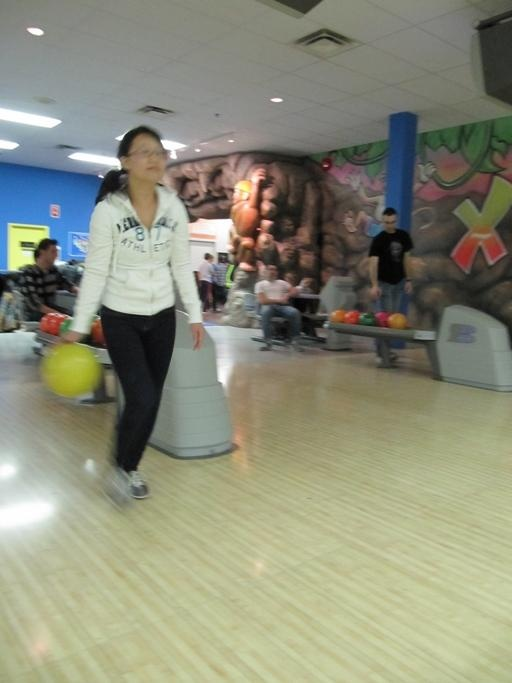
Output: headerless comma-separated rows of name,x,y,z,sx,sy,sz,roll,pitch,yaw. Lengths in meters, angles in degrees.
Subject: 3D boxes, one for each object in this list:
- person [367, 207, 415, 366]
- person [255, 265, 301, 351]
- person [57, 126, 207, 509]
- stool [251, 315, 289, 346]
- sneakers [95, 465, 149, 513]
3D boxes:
person,1.594,-0.918,5.601,0.417,1.186,0.701,6,7,28
person,0.333,-0.474,7.007,0.753,1.066,0.529,4,6,15
person,-0.433,-0.064,1.741,0.578,1.370,0.309,-1,7,-29
stool,0.247,-0.160,7.216,0.496,0.155,0.457,-3,14,-15
sneakers,-0.538,0.551,1.851,0.218,0.112,0.105,19,42,15
